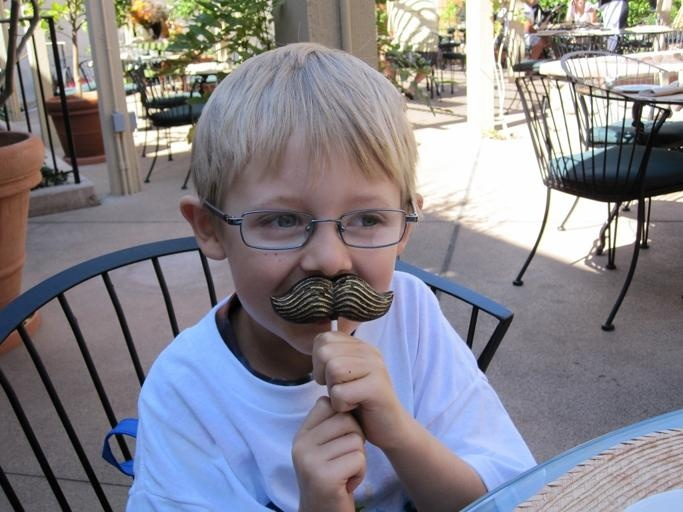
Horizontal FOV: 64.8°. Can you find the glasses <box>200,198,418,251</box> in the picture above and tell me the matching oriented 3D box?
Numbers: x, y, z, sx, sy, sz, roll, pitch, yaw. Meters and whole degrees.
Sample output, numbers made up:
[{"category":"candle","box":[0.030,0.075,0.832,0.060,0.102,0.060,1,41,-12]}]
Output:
[{"category":"glasses","box":[-0.086,-0.062,1.154,0.431,0.093,0.133,2,24,1]}]
